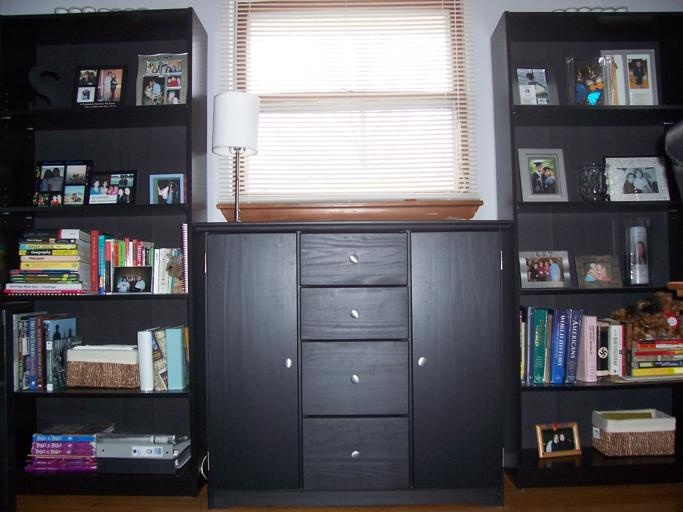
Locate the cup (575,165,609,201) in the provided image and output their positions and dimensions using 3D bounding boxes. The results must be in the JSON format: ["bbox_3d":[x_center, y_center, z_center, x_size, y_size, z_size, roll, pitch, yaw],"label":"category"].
[{"bbox_3d":[1.417,-0.413,3.844,0.168,0.145,0.145,-1,-1,18],"label":"cup"}]

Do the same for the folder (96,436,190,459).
[{"bbox_3d":[-1.117,1.039,3.706,0.259,0.080,0.193,1,-5,0],"label":"folder"}]

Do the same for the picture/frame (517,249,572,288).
[{"bbox_3d":[1.142,0.079,3.851,0.214,0.170,0.016,1,-16,-5],"label":"picture/frame"}]

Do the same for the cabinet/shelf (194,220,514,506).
[{"bbox_3d":[0.068,0.569,3.561,1.373,1.307,0.548,-1,-5,-1],"label":"cabinet/shelf"}]

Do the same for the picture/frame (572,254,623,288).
[{"bbox_3d":[1.459,0.091,3.877,0.189,0.186,0.014,-1,-20,-4],"label":"picture/frame"}]

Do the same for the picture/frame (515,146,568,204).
[{"bbox_3d":[1.128,-0.454,3.864,0.333,0.427,0.031,2,-20,-8],"label":"picture/frame"}]

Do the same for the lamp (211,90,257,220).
[{"bbox_3d":[-0.599,-0.546,3.823,0.253,0.707,0.308,-1,-1,-11],"label":"lamp"}]
